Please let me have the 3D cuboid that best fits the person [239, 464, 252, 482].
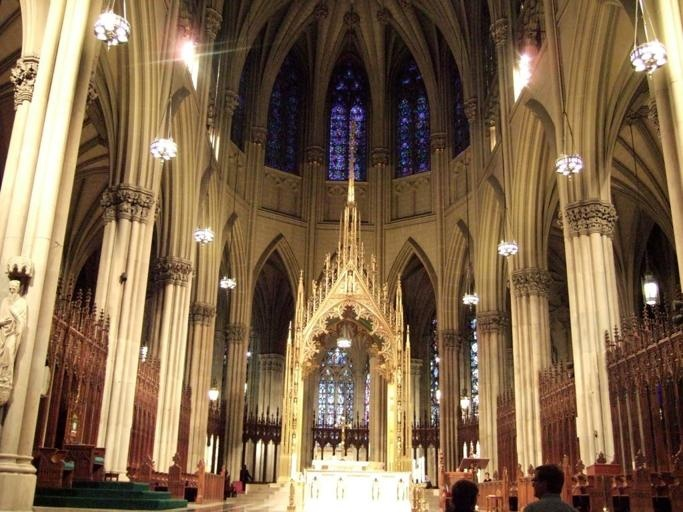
[{"bbox_3d":[-4.503,10.370,28.681,0.580,0.964,1.571,4,-27,-5],"label":"person"}]
